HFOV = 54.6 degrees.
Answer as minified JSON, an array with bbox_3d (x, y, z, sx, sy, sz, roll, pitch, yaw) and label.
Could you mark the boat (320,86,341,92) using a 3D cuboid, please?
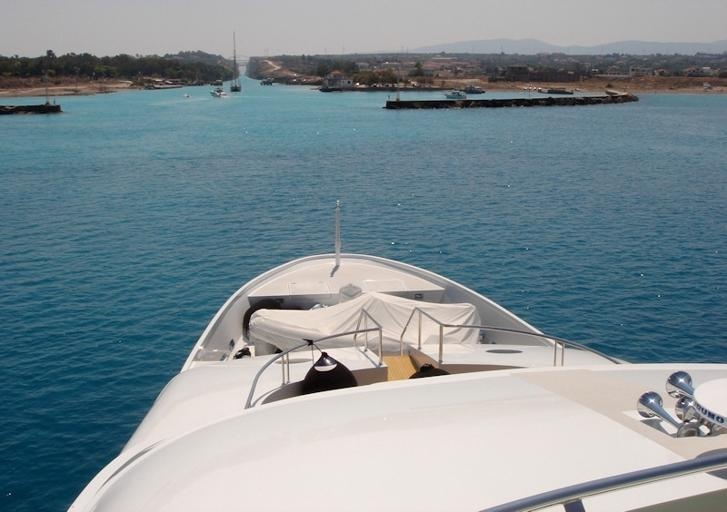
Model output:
[{"bbox_3d":[-11.399,-50.624,211.923,7.582,1.727,2.043,15,43,40],"label":"boat"}]
